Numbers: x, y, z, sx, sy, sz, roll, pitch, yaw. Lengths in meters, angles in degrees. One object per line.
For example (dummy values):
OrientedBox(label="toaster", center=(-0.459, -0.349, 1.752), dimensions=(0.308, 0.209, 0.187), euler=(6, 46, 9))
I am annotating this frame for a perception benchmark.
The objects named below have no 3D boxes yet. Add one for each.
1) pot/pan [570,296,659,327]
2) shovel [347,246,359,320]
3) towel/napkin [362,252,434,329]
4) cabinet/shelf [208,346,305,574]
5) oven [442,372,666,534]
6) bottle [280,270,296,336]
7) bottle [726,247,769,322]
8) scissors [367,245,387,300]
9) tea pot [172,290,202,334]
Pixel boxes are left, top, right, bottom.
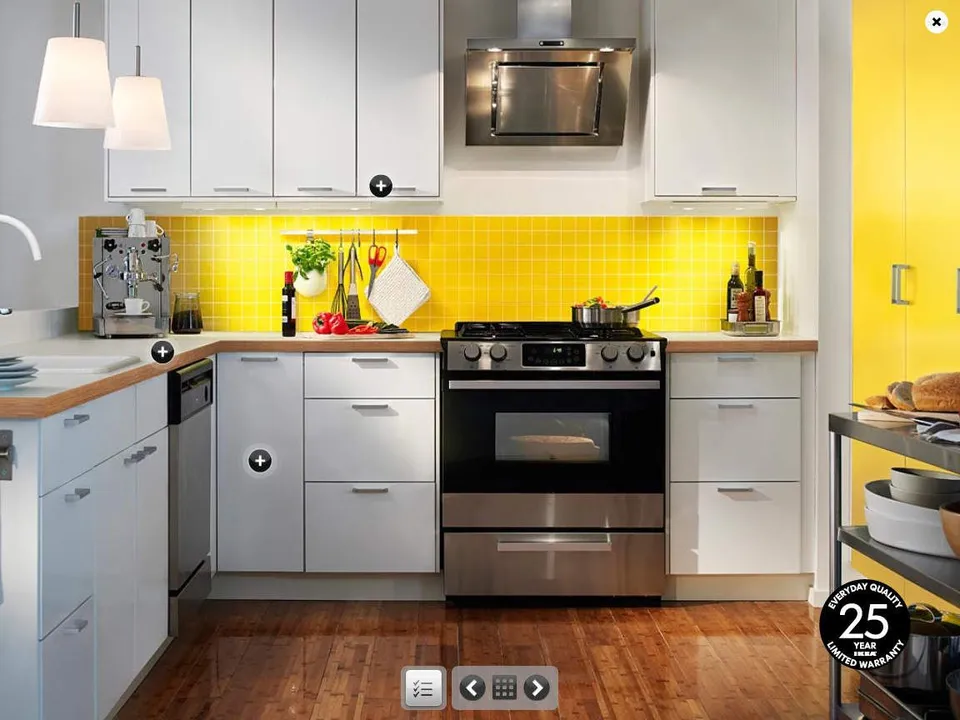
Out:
OrientedBox(label="pot/pan", center=(0.611, -0.232, 4.090), dimensions=(0.351, 0.154, 0.447), euler=(1, 12, 3))
OrientedBox(label="shovel", center=(-0.617, -0.377, 4.239), dimensions=(0.070, 0.340, 0.126), euler=(-1, 10, -9))
OrientedBox(label="towel/napkin", center=(-0.408, -0.316, 4.229), dimensions=(0.324, 0.314, 0.077), euler=(-41, 5, 2))
OrientedBox(label="cabinet/shelf", center=(-0.946, 0.438, 3.765), dimensions=(0.372, 0.914, 0.152), euler=(0, 10, 0))
OrientedBox(label="oven", center=(0.319, 0.200, 3.977), dimensions=(0.980, 0.690, 0.557), euler=(0, -4, 0))
OrientedBox(label="bottle", center=(-0.887, -0.262, 4.058), dimensions=(0.059, 0.279, 0.173), euler=(-1, 11, -8))
OrientedBox(label="bottle", center=(1.273, -0.349, 4.152), dimensions=(0.191, 0.358, 0.326), euler=(1, 11, 7))
OrientedBox(label="scissors", center=(-0.509, -0.426, 4.308), dimensions=(0.083, 0.251, 0.020), euler=(10, -1, 11))
OrientedBox(label="tea pot", center=(-1.403, -0.221, 4.183), dimensions=(0.142, 0.178, 0.229), euler=(-4, 12, -20))
